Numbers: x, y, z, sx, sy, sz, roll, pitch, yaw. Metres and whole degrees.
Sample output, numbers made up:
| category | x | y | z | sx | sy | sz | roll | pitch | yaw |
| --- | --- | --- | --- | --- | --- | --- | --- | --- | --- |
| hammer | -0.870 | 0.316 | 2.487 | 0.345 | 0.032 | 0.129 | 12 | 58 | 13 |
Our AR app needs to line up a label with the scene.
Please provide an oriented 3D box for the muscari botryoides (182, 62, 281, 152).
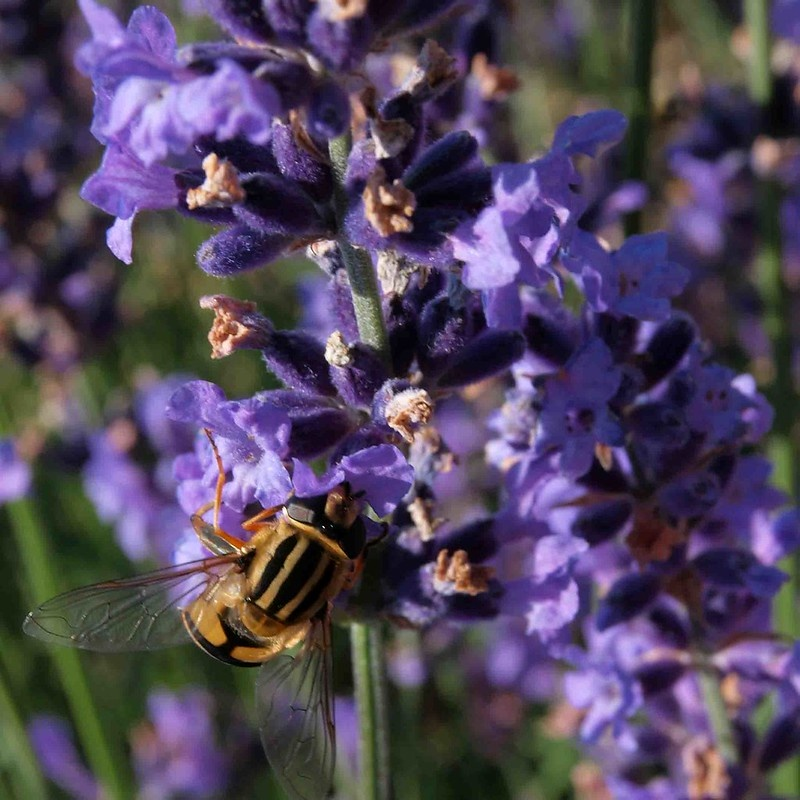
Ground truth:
| category | x | y | z | sx | sy | sz | roll | pitch | yaw |
| --- | --- | --- | --- | --- | --- | --- | --- | --- | --- |
| muscari botryoides | -0.252 | -0.444 | 1.878 | 0.107 | 0.136 | 0.129 | -6 | -67 | -14 |

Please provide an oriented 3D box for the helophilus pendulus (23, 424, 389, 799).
| category | x | y | z | sx | sy | sz | roll | pitch | yaw |
| --- | --- | --- | --- | --- | --- | --- | --- | --- | --- |
| helophilus pendulus | -0.318 | 0.434 | 2.426 | 0.782 | 0.239 | 0.663 | 38 | -68 | -2 |

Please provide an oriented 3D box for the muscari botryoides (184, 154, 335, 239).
| category | x | y | z | sx | sy | sz | roll | pitch | yaw |
| --- | --- | --- | --- | --- | --- | --- | --- | --- | --- |
| muscari botryoides | -0.242 | -0.340 | 2.143 | 0.195 | 0.082 | 0.127 | 19 | -47 | -14 |
